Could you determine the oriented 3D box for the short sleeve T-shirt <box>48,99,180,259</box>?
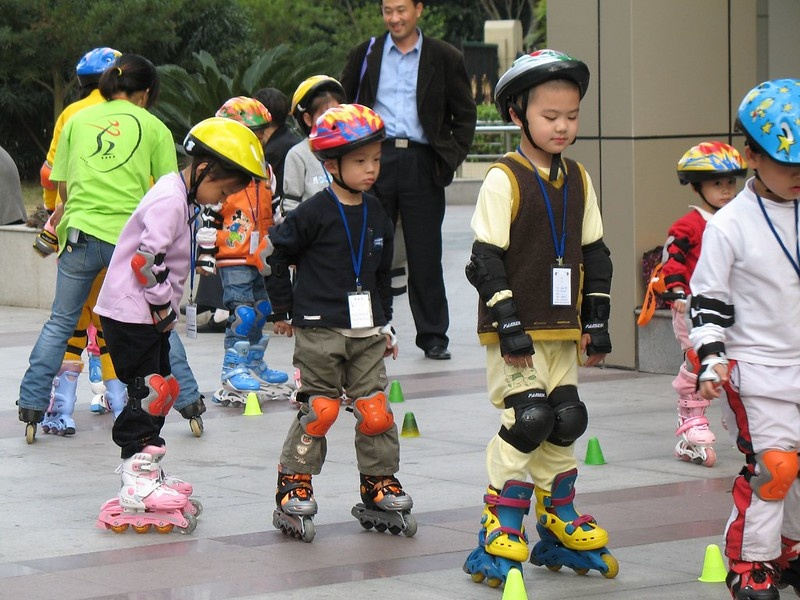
[{"bbox_3d":[-1.979,-0.834,6.022,0.920,1.063,0.666,6,12,1],"label":"short sleeve T-shirt"}]

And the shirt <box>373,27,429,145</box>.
[{"bbox_3d":[0.017,-1.959,7.957,0.555,0.966,0.233,5,7,10],"label":"shirt"}]

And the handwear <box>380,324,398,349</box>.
[{"bbox_3d":[-0.044,0.190,4.481,0.043,0.107,0.096,-10,6,-34],"label":"handwear"}]

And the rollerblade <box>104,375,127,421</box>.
[{"bbox_3d":[-2.199,0.734,6.667,0.180,0.395,0.131,-11,10,-29],"label":"rollerblade"}]

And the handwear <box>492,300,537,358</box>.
[{"bbox_3d":[0.475,0.125,3.521,0.143,0.249,0.104,-16,-2,4],"label":"handwear"}]

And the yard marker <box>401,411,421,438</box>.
[{"bbox_3d":[0.073,0.877,6.054,0.153,0.163,0.152,0,7,-5],"label":"yard marker"}]

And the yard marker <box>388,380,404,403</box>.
[{"bbox_3d":[-0.046,0.745,6.961,0.150,0.161,0.150,-1,2,-7],"label":"yard marker"}]

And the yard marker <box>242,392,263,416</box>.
[{"bbox_3d":[-1.176,0.829,6.865,0.163,0.154,0.159,1,-3,-9],"label":"yard marker"}]

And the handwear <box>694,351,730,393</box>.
[{"bbox_3d":[1.162,0.255,3.205,0.108,0.042,0.112,-38,24,-22],"label":"handwear"}]

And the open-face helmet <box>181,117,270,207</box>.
[{"bbox_3d":[-0.837,-0.718,4.512,0.434,0.437,0.385,-4,-4,12],"label":"open-face helmet"}]

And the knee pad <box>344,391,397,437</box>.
[{"bbox_3d":[-0.125,0.557,4.287,0.214,0.209,0.047,0,-2,11],"label":"knee pad"}]

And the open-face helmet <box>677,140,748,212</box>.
[{"bbox_3d":[2.062,-0.812,5.658,0.405,0.426,0.449,-8,12,-18],"label":"open-face helmet"}]

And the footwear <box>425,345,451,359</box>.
[{"bbox_3d":[0.404,0.522,8.553,0.118,0.109,0.253,2,-6,-27],"label":"footwear"}]

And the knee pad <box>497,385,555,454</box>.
[{"bbox_3d":[0.540,0.524,3.635,0.243,0.278,0.185,-1,6,6],"label":"knee pad"}]

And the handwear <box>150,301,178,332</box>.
[{"bbox_3d":[-1.212,0.086,4.412,0.079,0.203,0.072,-16,24,-18],"label":"handwear"}]

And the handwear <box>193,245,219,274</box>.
[{"bbox_3d":[-1.498,-0.306,6.674,0.196,0.274,0.114,-6,0,-25],"label":"handwear"}]

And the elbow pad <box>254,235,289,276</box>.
[{"bbox_3d":[-0.684,-0.221,4.431,0.144,0.256,0.190,9,9,-10],"label":"elbow pad"}]

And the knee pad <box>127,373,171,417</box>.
[{"bbox_3d":[-1.262,0.488,4.448,0.228,0.163,0.170,0,-1,12],"label":"knee pad"}]

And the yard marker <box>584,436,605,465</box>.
[{"bbox_3d":[1.200,0.940,5.341,0.150,0.156,0.145,-5,4,-25],"label":"yard marker"}]

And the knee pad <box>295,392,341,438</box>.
[{"bbox_3d":[-0.400,0.570,4.368,0.172,0.220,0.218,11,8,-26],"label":"knee pad"}]

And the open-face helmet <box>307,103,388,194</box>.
[{"bbox_3d":[-0.319,-0.763,4.276,0.365,0.407,0.332,-10,5,36],"label":"open-face helmet"}]

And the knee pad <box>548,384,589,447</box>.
[{"bbox_3d":[0.698,0.521,3.727,0.178,0.171,0.133,1,-23,-20],"label":"knee pad"}]

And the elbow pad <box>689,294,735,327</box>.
[{"bbox_3d":[1.186,0.051,3.286,0.141,0.088,0.114,17,-7,4],"label":"elbow pad"}]

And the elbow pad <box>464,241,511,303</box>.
[{"bbox_3d":[0.381,-0.121,3.659,0.132,0.259,0.202,-3,6,-16],"label":"elbow pad"}]

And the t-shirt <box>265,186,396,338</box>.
[{"bbox_3d":[-0.325,-0.208,4.548,0.798,0.728,0.429,-3,4,-37],"label":"t-shirt"}]

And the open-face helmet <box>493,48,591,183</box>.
[{"bbox_3d":[0.615,-0.874,3.752,0.397,0.435,0.268,1,6,18],"label":"open-face helmet"}]

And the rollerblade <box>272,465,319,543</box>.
[{"bbox_3d":[-0.522,1.013,4.248,0.206,0.285,0.314,-2,6,-10],"label":"rollerblade"}]

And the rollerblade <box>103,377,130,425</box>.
[{"bbox_3d":[-2.179,0.742,6.678,0.220,0.362,0.215,9,-20,-40],"label":"rollerblade"}]

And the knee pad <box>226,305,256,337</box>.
[{"bbox_3d":[-1.307,0.180,7.281,0.261,0.256,0.201,9,2,41],"label":"knee pad"}]

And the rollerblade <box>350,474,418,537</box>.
[{"bbox_3d":[-0.148,1.021,4.278,0.150,0.335,0.548,0,-2,-40],"label":"rollerblade"}]

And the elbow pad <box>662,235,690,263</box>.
[{"bbox_3d":[1.744,-0.327,5.455,0.155,0.152,0.061,2,17,-39],"label":"elbow pad"}]

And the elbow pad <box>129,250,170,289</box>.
[{"bbox_3d":[-1.252,-0.178,4.358,0.207,0.196,0.146,-9,34,-23],"label":"elbow pad"}]
